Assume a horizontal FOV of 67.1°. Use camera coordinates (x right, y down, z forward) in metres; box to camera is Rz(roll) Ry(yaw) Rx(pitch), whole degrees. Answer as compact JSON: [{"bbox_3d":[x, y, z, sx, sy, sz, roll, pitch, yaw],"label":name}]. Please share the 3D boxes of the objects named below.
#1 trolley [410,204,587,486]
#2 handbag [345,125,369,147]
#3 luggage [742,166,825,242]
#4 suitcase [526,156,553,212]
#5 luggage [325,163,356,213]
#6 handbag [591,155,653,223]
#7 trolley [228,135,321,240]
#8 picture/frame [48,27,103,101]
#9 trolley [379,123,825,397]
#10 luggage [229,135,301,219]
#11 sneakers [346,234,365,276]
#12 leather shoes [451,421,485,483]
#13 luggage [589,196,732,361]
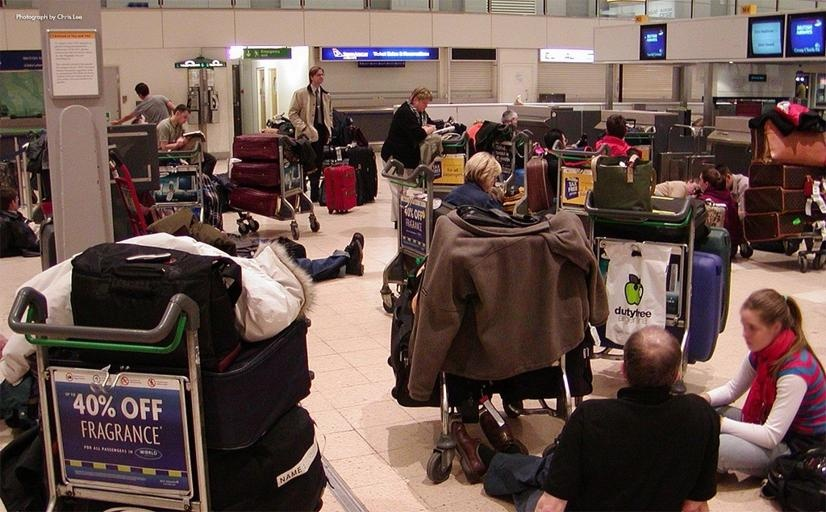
[{"bbox_3d":[0.598,0.467,3.838,1.236,1.455,1.074,-2,9,-12],"label":"trolley"},{"bbox_3d":[-0.981,-2.143,11.059,0.303,0.406,0.682,-2,8,-8],"label":"handbag"},{"bbox_3d":[4.258,-0.614,7.112,0.827,0.587,0.444,-2,12,-24],"label":"luggage"},{"bbox_3d":[1.296,-0.739,6.407,0.235,0.598,0.388,-7,26,7],"label":"suitcase"},{"bbox_3d":[-1.213,-1.122,10.353,0.504,0.807,0.568,-2,8,-9],"label":"luggage"},{"bbox_3d":[1.407,-0.510,4.307,0.497,0.434,0.384,11,20,33],"label":"handbag"},{"bbox_3d":[-2.073,-1.034,8.836,1.529,1.283,1.210,11,12,33],"label":"trolley"},{"bbox_3d":[-2.432,-1.383,4.461,0.055,0.531,0.404,33,34,31],"label":"picture/frame"},{"bbox_3d":[1.327,-0.023,5.268,1.823,1.643,2.566,0,3,-7],"label":"trolley"},{"bbox_3d":[-2.015,-1.186,8.979,1.196,1.166,0.852,7,11,36],"label":"luggage"},{"bbox_3d":[-0.680,-0.010,7.332,0.224,0.523,0.178,2,-8,-1],"label":"sneakers"},{"bbox_3d":[0.314,1.151,3.756,0.159,0.379,0.141,-28,-25,25],"label":"leather shoes"},{"bbox_3d":[1.950,0.092,4.627,0.939,1.214,1.230,1,3,28],"label":"luggage"}]
